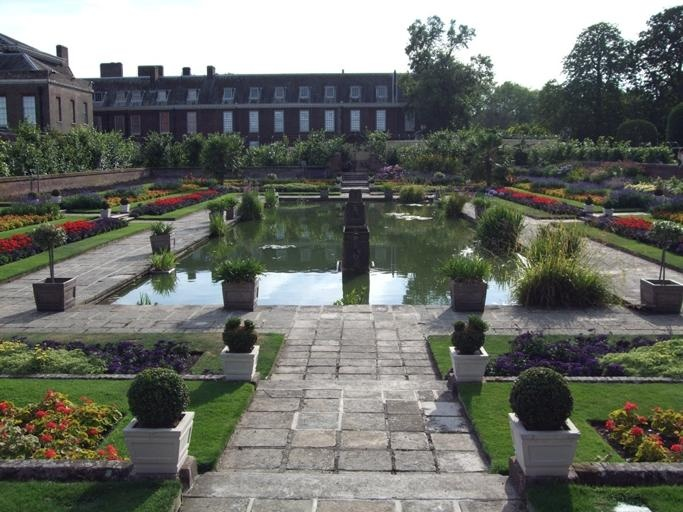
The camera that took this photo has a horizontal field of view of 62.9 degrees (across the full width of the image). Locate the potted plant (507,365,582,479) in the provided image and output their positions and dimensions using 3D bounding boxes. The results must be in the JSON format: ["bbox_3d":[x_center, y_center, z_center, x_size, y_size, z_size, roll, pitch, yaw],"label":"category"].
[{"bbox_3d":[2.064,1.614,6.139,0.877,1.399,1.006,0,7,10],"label":"potted plant"}]

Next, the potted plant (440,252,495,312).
[{"bbox_3d":[2.564,0.558,11.739,1.107,1.164,1.061,0,3,-1],"label":"potted plant"}]

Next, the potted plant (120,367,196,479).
[{"bbox_3d":[-1.878,1.709,5.726,0.603,1.001,0.457,-1,12,-1],"label":"potted plant"}]

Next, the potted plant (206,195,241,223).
[{"bbox_3d":[-4.983,-1.958,23.287,1.087,0.658,1.504,0,6,-17],"label":"potted plant"}]

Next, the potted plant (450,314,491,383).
[{"bbox_3d":[1.815,1.322,7.990,0.518,0.894,0.696,1,-1,2],"label":"potted plant"}]
